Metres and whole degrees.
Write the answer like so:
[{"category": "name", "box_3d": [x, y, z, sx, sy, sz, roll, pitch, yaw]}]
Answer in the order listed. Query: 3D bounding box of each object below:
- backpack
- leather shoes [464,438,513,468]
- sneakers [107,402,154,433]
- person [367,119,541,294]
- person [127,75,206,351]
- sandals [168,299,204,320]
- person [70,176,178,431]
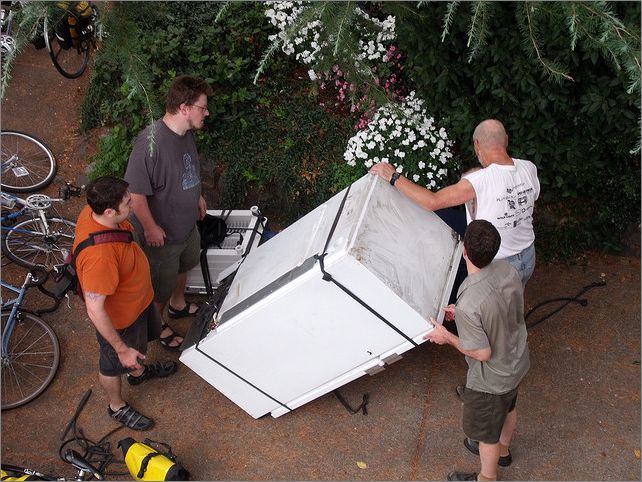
[{"category": "backpack", "box_3d": [-1.998, 0.013, 5.001, 0.642, 0.691, 0.531, -9, 62, -29]}, {"category": "leather shoes", "box_3d": [1.436, 1.806, 4.877, 0.138, 0.161, 0.370, -45, 70, -5]}, {"category": "sneakers", "box_3d": [-1.792, 1.701, 5.535, 0.451, 0.201, 0.209, 26, 29, -3]}, {"category": "person", "box_3d": [1.199, -0.309, 5.142, 1.130, 1.505, 0.708, -28, 60, -9]}, {"category": "person", "box_3d": [-1.446, -0.165, 5.418, 0.656, 2.659, 1.056, 9, 48, -8]}, {"category": "sandals", "box_3d": [-1.504, 0.783, 6.411, 0.418, 0.200, 0.186, -11, 31, -17]}, {"category": "person", "box_3d": [-1.781, 0.624, 5.306, 0.536, 2.045, 1.042, -7, 57, -19]}]
